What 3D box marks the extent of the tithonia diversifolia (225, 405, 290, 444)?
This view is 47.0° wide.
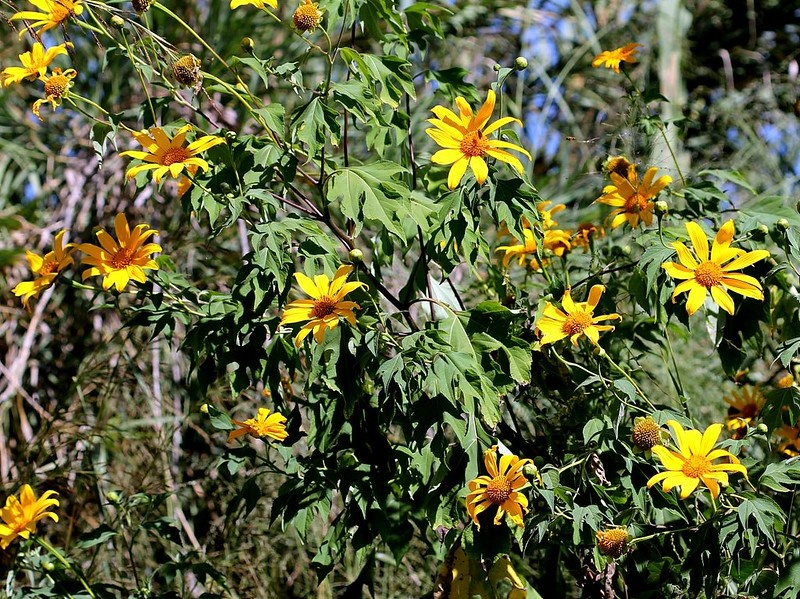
[{"bbox_3d":[-0.417,0.373,2.702,0.183,0.100,0.198,-12,4,-1],"label":"tithonia diversifolia"}]

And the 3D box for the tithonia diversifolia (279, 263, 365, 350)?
[{"bbox_3d":[-0.205,0.025,2.477,0.229,0.084,0.301,-12,18,29],"label":"tithonia diversifolia"}]

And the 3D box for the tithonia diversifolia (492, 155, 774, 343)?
[{"bbox_3d":[0.789,-0.201,2.613,0.314,0.346,0.508,-12,3,-24],"label":"tithonia diversifolia"}]

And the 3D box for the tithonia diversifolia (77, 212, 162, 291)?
[{"bbox_3d":[-0.796,-0.130,2.594,0.213,0.226,0.223,-12,3,-22],"label":"tithonia diversifolia"}]

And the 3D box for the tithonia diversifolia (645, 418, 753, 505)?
[{"bbox_3d":[0.771,0.430,2.409,0.251,0.167,0.137,-11,3,6],"label":"tithonia diversifolia"}]

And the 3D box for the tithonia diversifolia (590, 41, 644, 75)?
[{"bbox_3d":[0.681,-0.748,2.868,0.139,0.072,0.268,-11,4,16],"label":"tithonia diversifolia"}]

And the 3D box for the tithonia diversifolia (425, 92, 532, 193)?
[{"bbox_3d":[0.203,-0.427,2.512,0.284,0.082,0.271,-10,-31,44],"label":"tithonia diversifolia"}]
